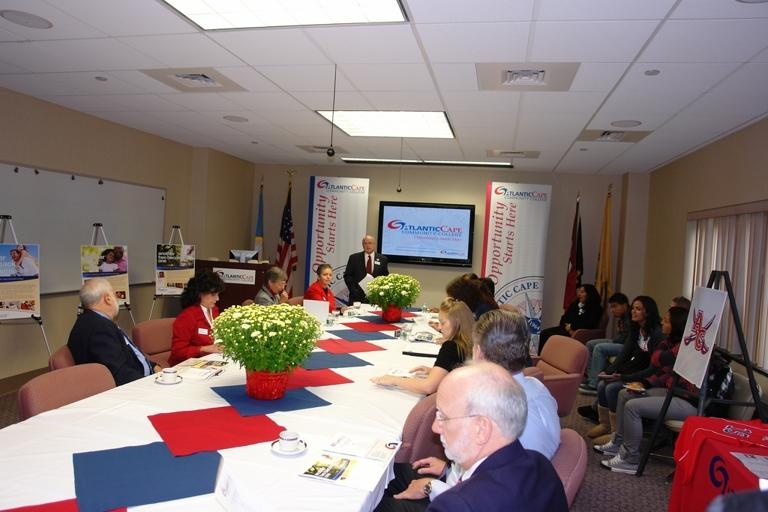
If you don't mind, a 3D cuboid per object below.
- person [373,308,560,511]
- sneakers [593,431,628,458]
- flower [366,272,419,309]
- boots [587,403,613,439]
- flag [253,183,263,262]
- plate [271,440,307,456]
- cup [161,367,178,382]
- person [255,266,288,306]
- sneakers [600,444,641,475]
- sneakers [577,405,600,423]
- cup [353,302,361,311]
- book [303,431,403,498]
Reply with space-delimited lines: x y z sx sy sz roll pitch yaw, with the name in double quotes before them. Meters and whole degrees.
"person" 0.528 1.015 3.442 1.154 1.517 1.100 2 -8 5
"sneakers" 2.344 1.962 4.909 0.350 0.220 0.140 1 -2 17
"flower" 0.110 0.363 5.523 0.449 0.309 0.434 1 -1 2
"boots" 2.453 1.879 5.305 0.401 0.306 0.153 -1 -18 -1
"flag" -2.458 -0.671 9.303 0.180 1.492 0.886 0 12 -15
"plate" -0.532 1.078 2.655 0.114 0.038 0.109 6 -9 -19
"cup" -1.519 0.844 3.369 0.111 0.082 0.086 -1 4 -12
"person" -1.311 0.389 5.502 0.299 0.501 0.782 1 12 -8
"sneakers" 2.331 2.012 4.721 0.396 0.257 0.160 7 -3 24
"sneakers" 2.541 1.927 5.839 0.102 0.192 0.280 -4 15 -31
"cup" -0.349 0.655 6.203 0.072 0.078 0.069 1 0 0
"book" -0.174 1.130 2.649 0.464 0.058 0.427 6 12 10
